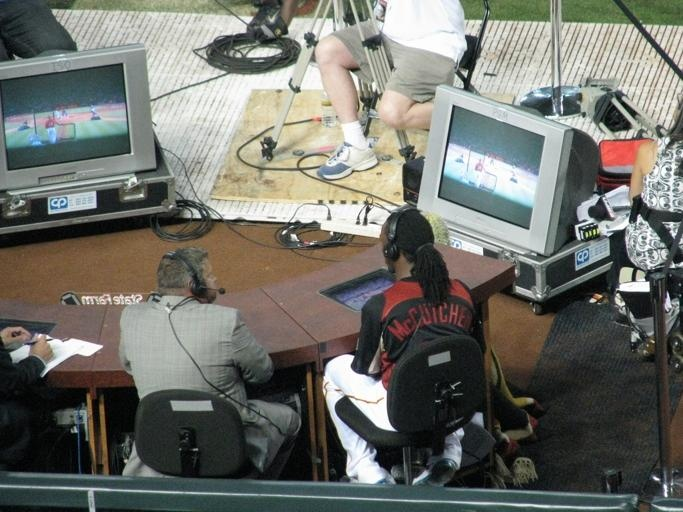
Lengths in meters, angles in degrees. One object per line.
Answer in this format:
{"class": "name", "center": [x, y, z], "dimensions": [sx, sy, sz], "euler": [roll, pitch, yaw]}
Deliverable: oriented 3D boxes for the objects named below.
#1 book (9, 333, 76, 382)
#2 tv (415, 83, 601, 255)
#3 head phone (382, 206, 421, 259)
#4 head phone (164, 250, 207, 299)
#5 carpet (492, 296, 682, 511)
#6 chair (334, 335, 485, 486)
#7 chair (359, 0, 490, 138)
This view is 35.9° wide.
{"class": "book", "center": [-1.379, 0.451, 4.968], "dimensions": [0.219, 0.051, 0.223], "euler": [19, 34, 40]}
{"class": "tv", "center": [0.960, -0.476, 6.224], "dimensions": [0.981, 0.783, 0.682], "euler": [25, 30, 26]}
{"class": "head phone", "center": [0.283, -0.098, 4.873], "dimensions": [0.097, 0.228, 0.273], "euler": [7, 11, 26]}
{"class": "head phone", "center": [-0.712, 0.091, 4.810], "dimensions": [0.214, 0.175, 0.083], "euler": [0, 11, 40]}
{"class": "carpet", "center": [1.339, 0.774, 5.856], "dimensions": [0.783, 0.026, 1.187], "euler": [-3, 28, 11]}
{"class": "chair", "center": [0.296, 0.747, 4.973], "dimensions": [0.625, 0.766, 0.710], "euler": [-9, 7, -18]}
{"class": "chair", "center": [0.524, -1.256, 7.150], "dimensions": [0.682, 1.049, 0.788], "euler": [26, 56, 17]}
